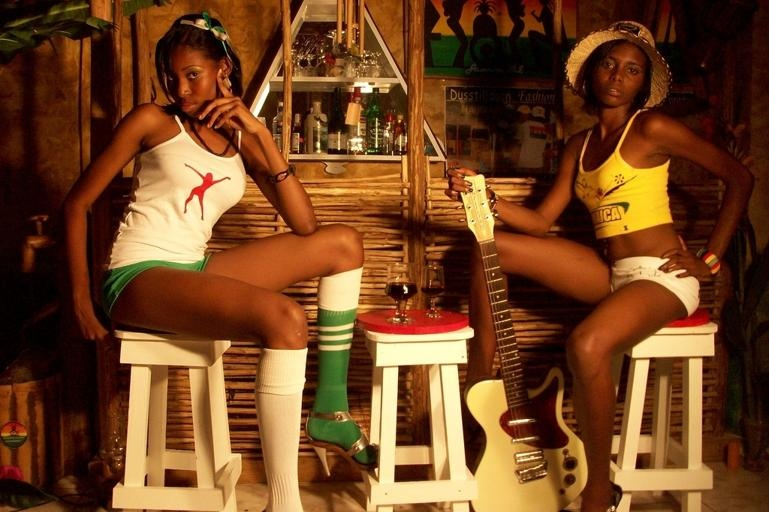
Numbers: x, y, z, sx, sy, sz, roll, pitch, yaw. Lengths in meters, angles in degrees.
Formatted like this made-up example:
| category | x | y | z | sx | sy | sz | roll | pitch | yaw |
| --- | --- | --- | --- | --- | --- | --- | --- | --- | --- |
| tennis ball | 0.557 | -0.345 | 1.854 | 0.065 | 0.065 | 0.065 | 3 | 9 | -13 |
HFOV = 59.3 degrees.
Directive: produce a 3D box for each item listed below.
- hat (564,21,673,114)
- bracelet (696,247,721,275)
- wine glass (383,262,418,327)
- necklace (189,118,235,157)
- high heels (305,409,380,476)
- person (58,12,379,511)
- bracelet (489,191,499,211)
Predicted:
| category | x | y | z | sx | sy | sz | roll | pitch | yaw |
| --- | --- | --- | --- | --- | --- | --- | --- | --- | --- |
| hat | 1.154 | -0.981 | 3.324 | 0.467 | 0.478 | 0.272 | -11 | 37 | 21 |
| bracelet | 1.541 | 0.036 | 3.191 | 0.122 | 0.057 | 0.102 | 43 | 5 | -36 |
| wine glass | 0.076 | 0.152 | 3.006 | 0.167 | 0.267 | 0.158 | 1 | -1 | -45 |
| necklace | -0.788 | -0.515 | 3.052 | 0.197 | 0.071 | 0.144 | 39 | 44 | 11 |
| high heels | -0.185 | 0.800 | 3.052 | 0.375 | 0.167 | 0.189 | 23 | 11 | -2 |
| person | -0.699 | -0.014 | 2.959 | 1.154 | 2.089 | 0.670 | -2 | -1 | 22 |
| bracelet | 0.514 | -0.270 | 3.218 | 0.039 | 0.071 | 0.055 | -3 | 23 | -2 |
